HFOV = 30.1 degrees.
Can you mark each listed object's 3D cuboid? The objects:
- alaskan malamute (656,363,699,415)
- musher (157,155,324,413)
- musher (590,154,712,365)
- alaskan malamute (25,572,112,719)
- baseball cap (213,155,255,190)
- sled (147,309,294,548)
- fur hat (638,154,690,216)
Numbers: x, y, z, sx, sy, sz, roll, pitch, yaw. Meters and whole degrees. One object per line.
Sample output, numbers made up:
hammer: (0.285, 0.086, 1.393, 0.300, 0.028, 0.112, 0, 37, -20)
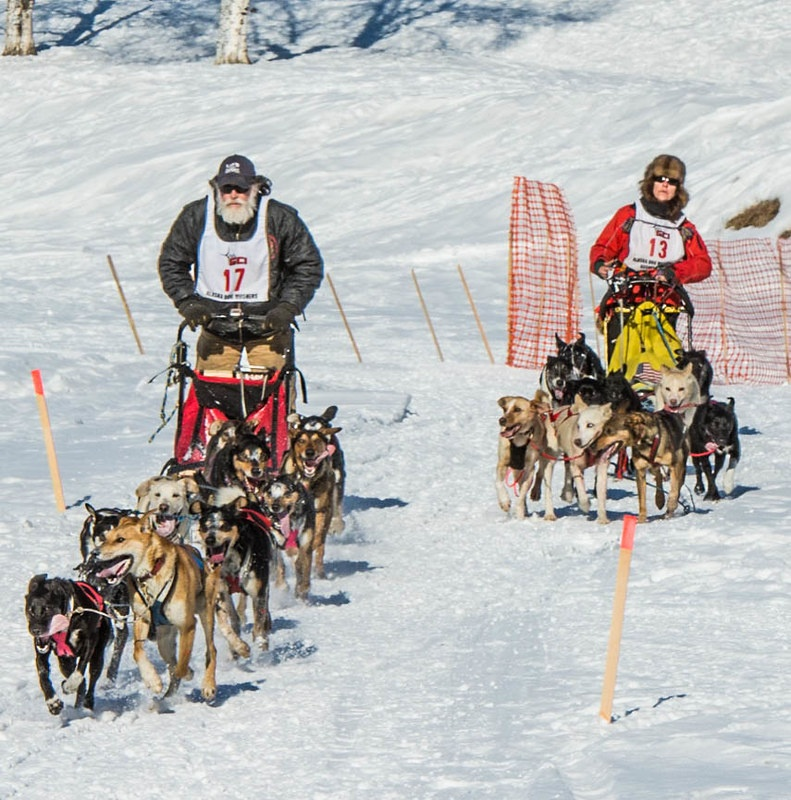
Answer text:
alaskan malamute: (2.579, -0.138, 13.485, 0.276, 0.294, 0.607, 2, 17, 13)
musher: (-1.184, -0.618, 11.689, 1.488, 2.358, 0.941, 3, 15, 17)
musher: (2.345, -1.343, 13.804, 1.111, 1.902, 0.740, 2, 11, 2)
alaskan malamute: (-2.021, 1.499, 9.165, 0.489, 0.740, 1.419, -3, -8, -1)
baseball cap: (-1.226, -1.764, 11.325, 0.270, 0.174, 0.347, 1, 7, 7)
sled: (-1.288, 0.087, 11.716, 0.969, 1.492, 1.484, 2, 6, -2)
fur hat: (2.452, -1.995, 13.660, 0.494, 0.545, 0.323, 2, 19, 15)
